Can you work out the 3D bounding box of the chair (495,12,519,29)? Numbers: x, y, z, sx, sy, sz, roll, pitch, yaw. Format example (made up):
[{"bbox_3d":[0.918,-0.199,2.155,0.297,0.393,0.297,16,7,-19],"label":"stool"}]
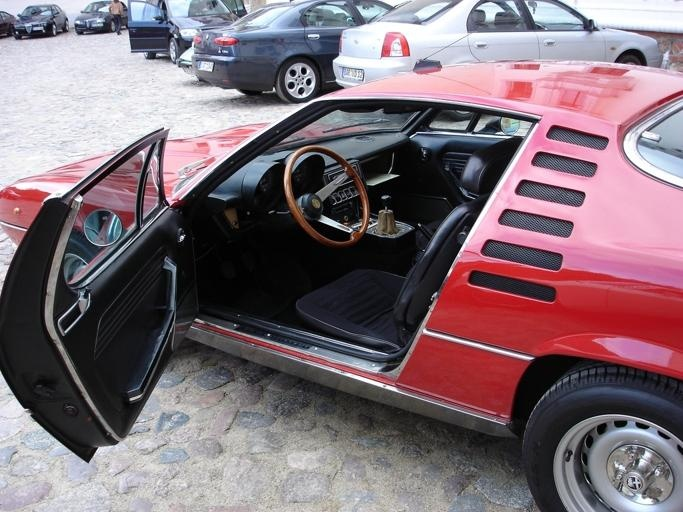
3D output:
[{"bbox_3d":[2.408,-3.386,7.012,0.414,0.118,0.212,8,71,0],"label":"chair"}]

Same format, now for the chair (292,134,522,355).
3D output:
[{"bbox_3d":[0.374,0.101,2.634,1.095,0.914,0.733,-2,-16,37],"label":"chair"}]
